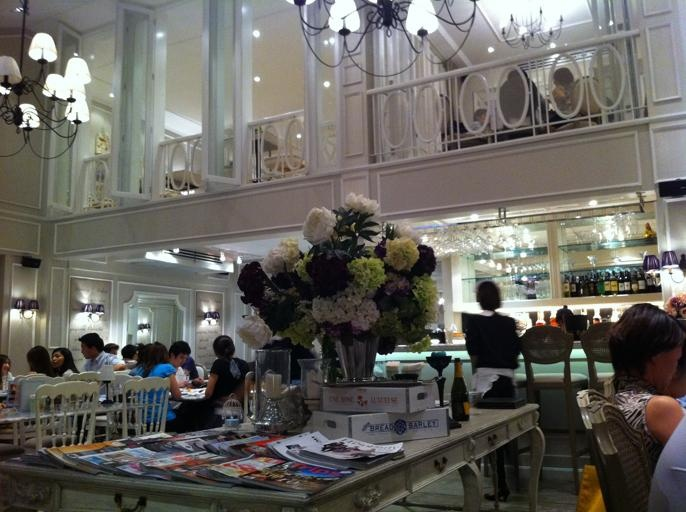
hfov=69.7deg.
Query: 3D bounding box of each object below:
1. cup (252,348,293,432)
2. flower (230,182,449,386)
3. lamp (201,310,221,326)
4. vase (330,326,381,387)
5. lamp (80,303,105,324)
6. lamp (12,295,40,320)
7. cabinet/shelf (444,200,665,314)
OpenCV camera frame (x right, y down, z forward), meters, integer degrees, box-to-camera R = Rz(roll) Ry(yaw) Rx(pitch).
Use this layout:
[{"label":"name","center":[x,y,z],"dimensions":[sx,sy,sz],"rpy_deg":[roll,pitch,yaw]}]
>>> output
[{"label":"cup","center":[-0.332,0.606,2.190],"dimensions":[0.189,0.352,0.189],"rpy_deg":[-5,-9,-1]},{"label":"flower","center":[0.013,0.180,2.450],"dimensions":[0.879,0.910,0.958],"rpy_deg":[-3,-1,-15]},{"label":"lamp","center":[-3.764,1.794,14.162],"dimensions":[0.104,0.408,0.686],"rpy_deg":[-6,-6,24]},{"label":"vase","center":[0.065,0.449,2.160],"dimensions":[0.178,0.197,0.185],"rpy_deg":[-6,-14,29]},{"label":"lamp","center":[-5.450,1.246,10.760],"dimensions":[0.332,0.538,0.615],"rpy_deg":[-6,-6,12]},{"label":"lamp","center":[-6.083,0.999,9.495],"dimensions":[0.318,0.462,0.508],"rpy_deg":[-5,-6,12]},{"label":"cabinet/shelf","center":[3.444,0.031,7.981],"dimensions":[2.914,1.641,0.401],"rpy_deg":[-5,15,19]}]
